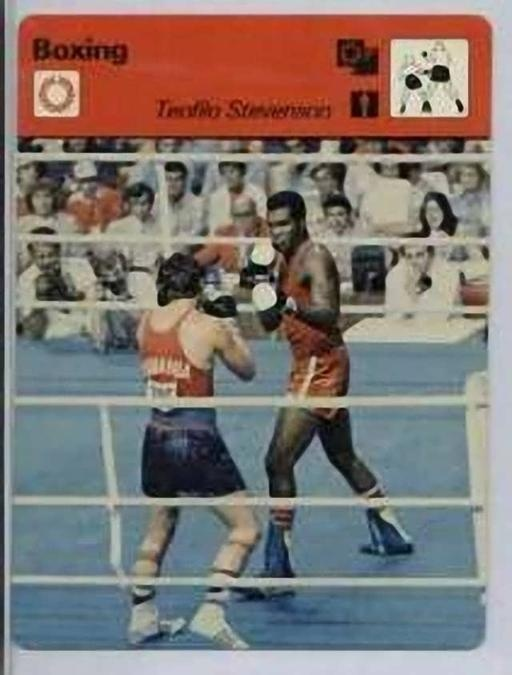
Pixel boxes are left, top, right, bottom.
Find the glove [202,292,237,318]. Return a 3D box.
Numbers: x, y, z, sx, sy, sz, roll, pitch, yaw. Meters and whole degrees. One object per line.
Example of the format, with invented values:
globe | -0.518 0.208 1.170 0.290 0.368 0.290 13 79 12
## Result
glove | -0.101 -0.079 4.350 0.069 0.061 0.031 13 5 1
